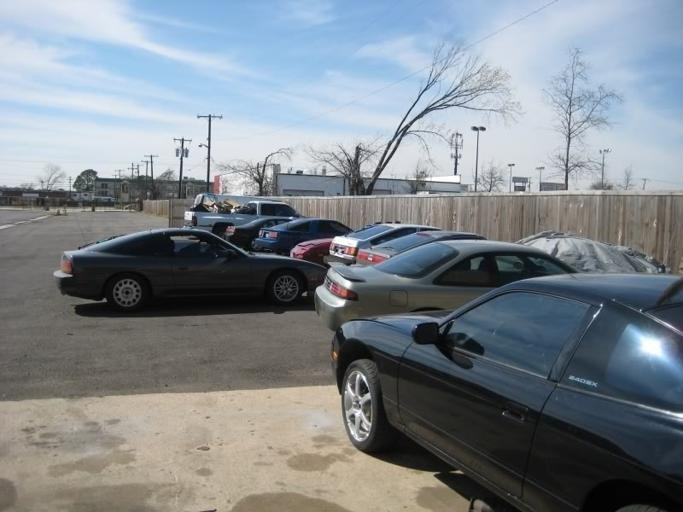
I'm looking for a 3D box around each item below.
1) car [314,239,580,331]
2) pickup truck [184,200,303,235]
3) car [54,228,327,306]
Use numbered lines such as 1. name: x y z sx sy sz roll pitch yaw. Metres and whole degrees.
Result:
1. car: 1.490 0.302 7.063 3.468 0.928 1.465 -4 8 -14
2. pickup truck: -4.351 -1.736 22.045 4.594 1.459 2.079 -3 9 -21
3. car: -3.066 0.134 10.222 4.529 1.221 1.909 -2 3 -19
